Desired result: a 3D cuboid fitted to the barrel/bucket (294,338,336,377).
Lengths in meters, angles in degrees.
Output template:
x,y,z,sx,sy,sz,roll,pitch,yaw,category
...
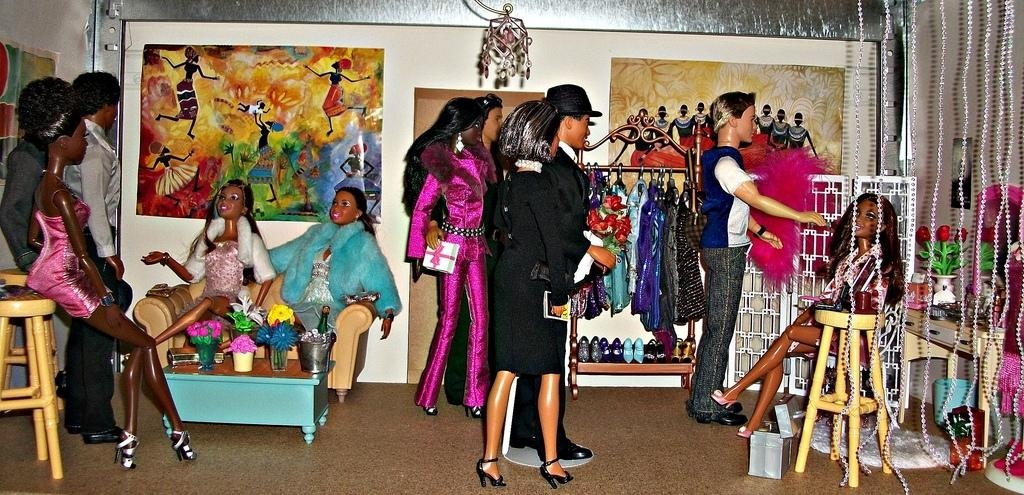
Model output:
x,y,z,sx,sy,sz,roll,pitch,yaw,category
-2.014,1.104,7.625,0.462,0.323,0.413,2,-5,-8,barrel/bucket
